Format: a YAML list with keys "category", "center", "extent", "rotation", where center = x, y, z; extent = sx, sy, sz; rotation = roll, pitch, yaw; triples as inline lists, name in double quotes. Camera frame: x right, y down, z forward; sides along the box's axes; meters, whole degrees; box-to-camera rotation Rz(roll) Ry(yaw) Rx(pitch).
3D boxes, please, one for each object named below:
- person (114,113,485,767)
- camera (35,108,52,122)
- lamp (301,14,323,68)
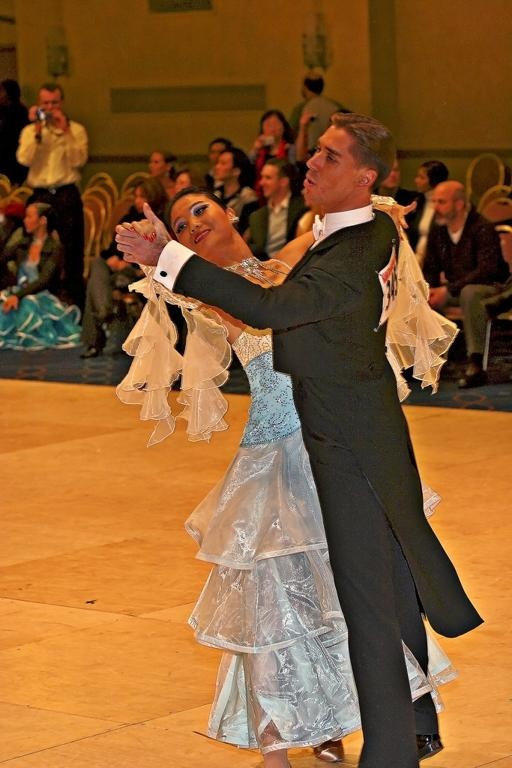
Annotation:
- category: "person"
  center: [0.179, 0.142, 1.396]
  extent: [0.492, 1.220, 0.837]
  rotation: [-1, 11, 17]
- category: "camera"
  center: [-2.630, -3.328, 8.804]
  extent: [0.154, 0.167, 0.071]
  rotation: [-12, 3, -6]
- category: "lamp"
  center: [0.726, -4.317, 9.023]
  extent: [0.310, 0.677, 0.095]
  rotation: [4, 14, 37]
